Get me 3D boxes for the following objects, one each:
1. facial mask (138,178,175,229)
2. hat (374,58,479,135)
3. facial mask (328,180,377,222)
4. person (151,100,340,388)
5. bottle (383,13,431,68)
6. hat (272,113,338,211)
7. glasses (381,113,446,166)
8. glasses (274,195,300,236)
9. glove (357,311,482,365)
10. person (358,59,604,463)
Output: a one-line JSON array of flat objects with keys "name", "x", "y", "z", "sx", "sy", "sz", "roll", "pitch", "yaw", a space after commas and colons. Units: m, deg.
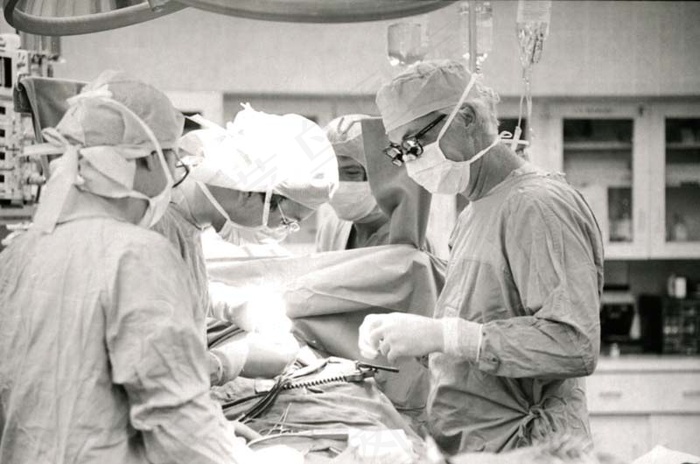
[{"name": "facial mask", "x": -0.602, "y": -0.093, "z": 5.745, "sx": 0.112, "sy": 0.137, "sz": 0.053, "roll": 4, "pitch": -5, "yaw": 38}, {"name": "hat", "x": 0.244, "y": -0.455, "z": 6.078, "sx": 0.294, "sy": 0.134, "sz": 0.221, "roll": -20, "pitch": -10, "yaw": -2}, {"name": "facial mask", "x": 0.013, "y": -0.113, "z": 6.411, "sx": 0.146, "sy": 0.104, "sz": 0.135, "roll": 4, "pitch": 14, "yaw": 9}, {"name": "person", "x": -0.342, "y": 0.035, "z": 6.008, "sx": 0.658, "sy": 0.786, "sz": 0.584, "roll": -9, "pitch": 38, "yaw": -26}, {"name": "bottle", "x": 0.180, "y": -0.628, "z": 6.040, "sx": 0.181, "sy": 0.158, "sz": 0.024, "roll": -13, "pitch": 26, "yaw": -17}, {"name": "hat", "x": -0.147, "y": -0.237, "z": 5.972, "sx": 0.236, "sy": 0.271, "sz": 0.098, "roll": -9, "pitch": 0, "yaw": 9}, {"name": "glasses", "x": 0.200, "y": -0.307, "z": 6.073, "sx": 0.130, "sy": 0.202, "sz": 0.068, "roll": 44, "pitch": 7, "yaw": -21}, {"name": "glasses", "x": -0.215, "y": -0.056, "z": 6.115, "sx": 0.091, "sy": 0.113, "sz": 0.123, "roll": 2, "pitch": 14, "yaw": -9}, {"name": "glove", "x": 0.235, "y": 0.330, "z": 5.982, "sx": 0.311, "sy": 0.082, "sz": 0.181, "roll": -5, "pitch": 27, "yaw": 3}, {"name": "person", "x": 0.429, "y": 0.076, "z": 6.057, "sx": 0.779, "sy": 1.267, "sz": 0.377, "roll": 0, "pitch": 3, "yaw": 7}]
